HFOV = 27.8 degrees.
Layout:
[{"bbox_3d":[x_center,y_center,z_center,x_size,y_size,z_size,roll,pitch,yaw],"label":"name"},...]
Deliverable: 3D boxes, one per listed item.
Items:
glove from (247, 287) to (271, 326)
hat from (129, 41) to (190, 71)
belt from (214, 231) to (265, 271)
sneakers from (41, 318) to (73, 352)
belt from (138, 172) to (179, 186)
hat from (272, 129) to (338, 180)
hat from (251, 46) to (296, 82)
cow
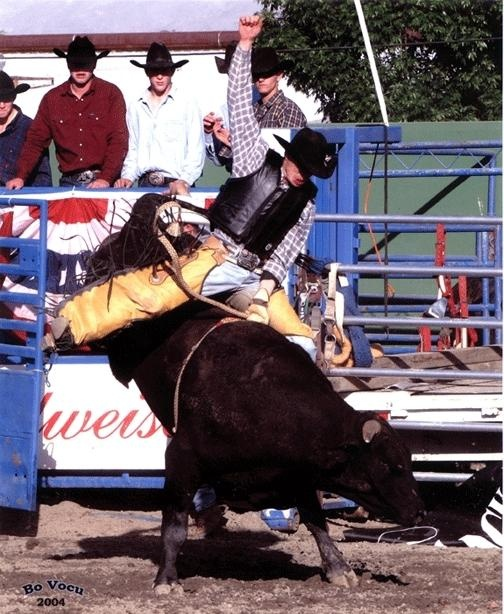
[{"bbox_3d":[0.034,-0.003,5.103,0.077,0.147,0.126,19,-24,-9],"label":"glove"},{"bbox_3d":[-0.710,-1.871,7.807,0.377,0.132,0.382,-1,0,-1],"label":"hat"},{"bbox_3d":[-0.074,-0.281,5.270,0.247,0.087,0.184,34,-1,-18],"label":"belt"},{"bbox_3d":[-0.939,0.133,4.874,0.179,0.168,0.104,0,2,35],"label":"sneakers"},{"bbox_3d":[-0.712,-0.936,7.534,0.228,0.065,0.203,2,-15,1],"label":"belt"},{"bbox_3d":[0.309,-0.799,5.255,0.231,0.276,0.421,0,2,42],"label":"hat"},{"bbox_3d":[0.137,-1.781,7.486,0.259,0.106,0.299,-2,-1,19],"label":"hat"},{"bbox_3d":[0.039,0.636,4.776,1.579,1.401,0.653,0,2,43],"label":"cow"}]
